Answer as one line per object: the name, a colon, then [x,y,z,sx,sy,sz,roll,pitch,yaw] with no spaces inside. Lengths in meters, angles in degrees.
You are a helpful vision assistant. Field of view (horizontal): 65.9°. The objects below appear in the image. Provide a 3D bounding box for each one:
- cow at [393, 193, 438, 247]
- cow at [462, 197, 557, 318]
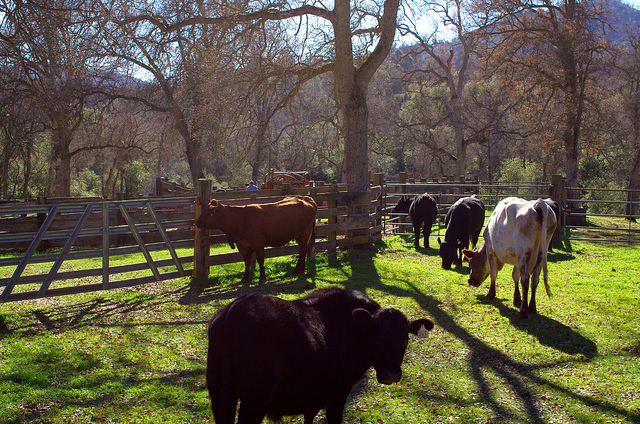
cow: [3.805,0.245,20.108,1.663,2.013,2.716,2,3,8]
cow: [5.195,1.045,12.941,1.770,2.838,2.501,0,4,-26]
